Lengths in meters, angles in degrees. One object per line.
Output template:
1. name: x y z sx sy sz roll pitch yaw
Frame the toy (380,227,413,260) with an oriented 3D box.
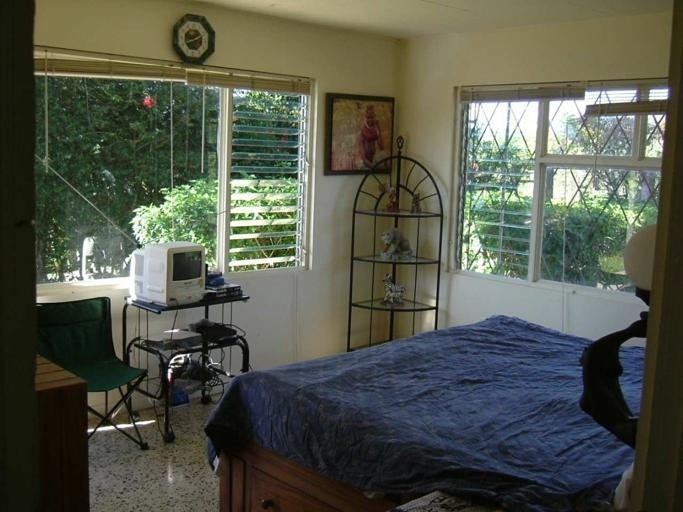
1. toy: 0.455 -0.113 4.898 0.298 0.314 0.211 -3 6 -19

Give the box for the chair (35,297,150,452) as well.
1. chair: -1.516 0.732 3.391 0.637 0.869 0.616 5 7 27

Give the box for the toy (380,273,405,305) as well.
1. toy: 0.458 0.288 5.007 0.165 0.247 0.212 1 8 -2

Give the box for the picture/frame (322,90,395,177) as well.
1. picture/frame: 0.168 -1.085 5.054 0.763 0.710 0.015 11 15 37

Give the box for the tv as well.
1. tv: -1.179 0.088 3.920 0.403 0.404 0.401 3 5 38

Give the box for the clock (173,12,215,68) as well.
1. clock: -1.034 -1.515 3.982 0.297 0.322 0.027 8 12 4
